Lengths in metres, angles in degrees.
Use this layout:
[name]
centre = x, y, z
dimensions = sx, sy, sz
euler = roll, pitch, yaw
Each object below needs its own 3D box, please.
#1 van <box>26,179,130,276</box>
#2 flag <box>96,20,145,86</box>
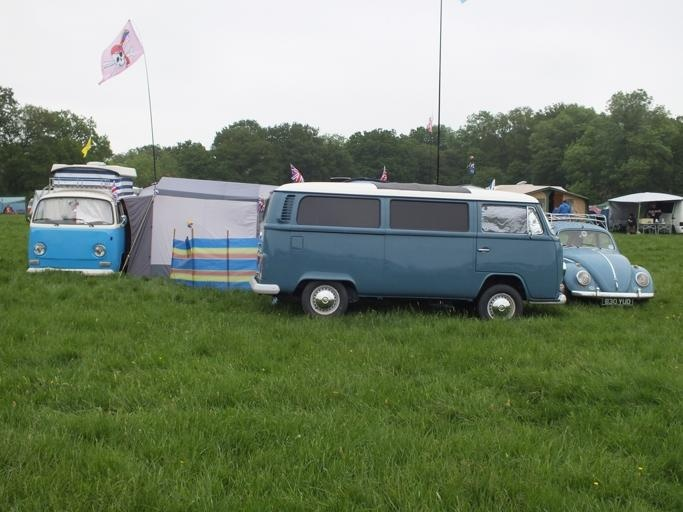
[van]
centre = -6.930, 0.007, 17.864
dimensions = 2.049, 2.621, 3.855
euler = 1, -14, -17
[flag]
centre = -8.364, -7.720, 25.397
dimensions = 1.862, 0.145, 2.338
euler = -16, -39, -25
